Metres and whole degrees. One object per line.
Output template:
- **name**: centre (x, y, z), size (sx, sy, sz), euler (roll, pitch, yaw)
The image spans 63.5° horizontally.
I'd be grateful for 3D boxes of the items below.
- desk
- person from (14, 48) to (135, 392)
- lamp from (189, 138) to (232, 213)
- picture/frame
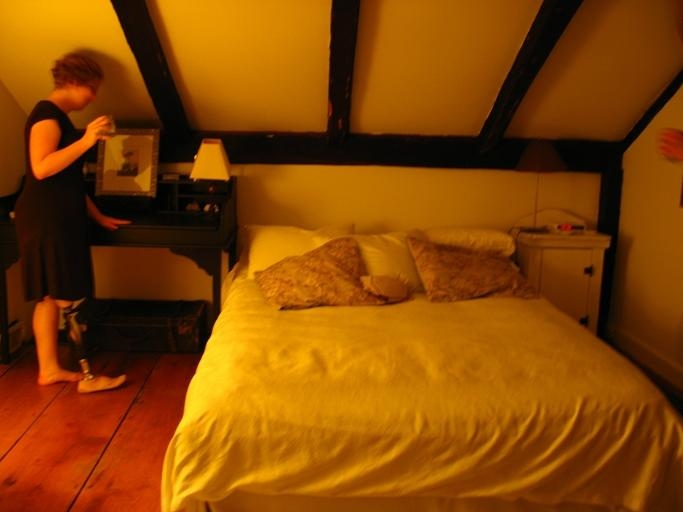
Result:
- **desk**: centre (-1.241, 0.008, 3.733), size (1.086, 1.119, 0.468), euler (1, 13, 6)
- **person**: centre (-1.613, -0.145, 3.291), size (0.602, 1.879, 0.923), euler (-1, 29, -17)
- **lamp**: centre (-0.889, -0.548, 3.735), size (0.272, 0.458, 0.321), euler (-1, 29, -16)
- **picture/frame**: centre (-1.457, -0.634, 3.727), size (0.445, 0.531, 0.021), euler (3, -5, -4)
